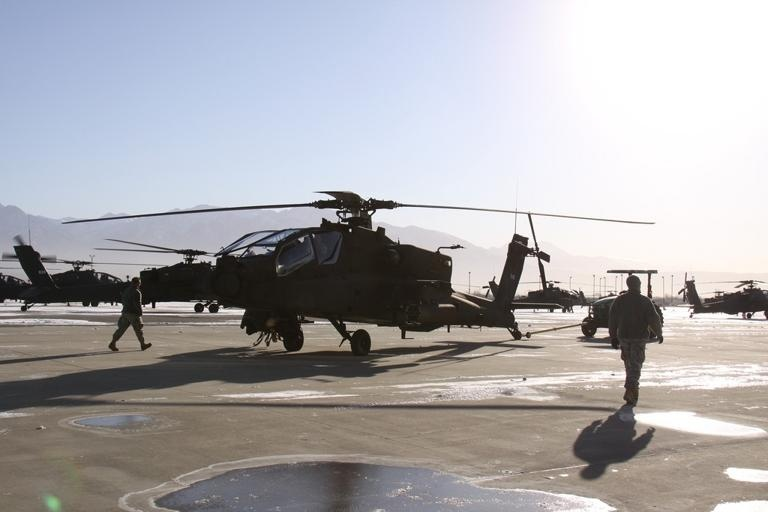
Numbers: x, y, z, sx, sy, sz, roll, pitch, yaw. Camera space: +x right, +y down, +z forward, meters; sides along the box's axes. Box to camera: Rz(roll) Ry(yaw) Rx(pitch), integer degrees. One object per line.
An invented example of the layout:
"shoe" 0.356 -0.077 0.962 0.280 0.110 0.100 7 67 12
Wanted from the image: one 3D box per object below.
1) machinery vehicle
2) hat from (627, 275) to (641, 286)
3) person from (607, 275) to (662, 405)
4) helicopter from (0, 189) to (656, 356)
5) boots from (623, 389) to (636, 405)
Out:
"machinery vehicle" 10.848 2.200 28.084 4.097 2.360 1.977 -5 -2 14
"hat" 4.490 0.453 11.326 0.199 0.205 0.297 -1 -2 18
"person" 4.543 1.442 11.355 0.902 2.180 1.455 -1 -3 20
"helicopter" -1.729 0.680 18.931 9.908 2.346 9.243 7 -3 -31
"boots" 4.205 2.384 10.696 0.210 0.258 0.194 0 -3 13
